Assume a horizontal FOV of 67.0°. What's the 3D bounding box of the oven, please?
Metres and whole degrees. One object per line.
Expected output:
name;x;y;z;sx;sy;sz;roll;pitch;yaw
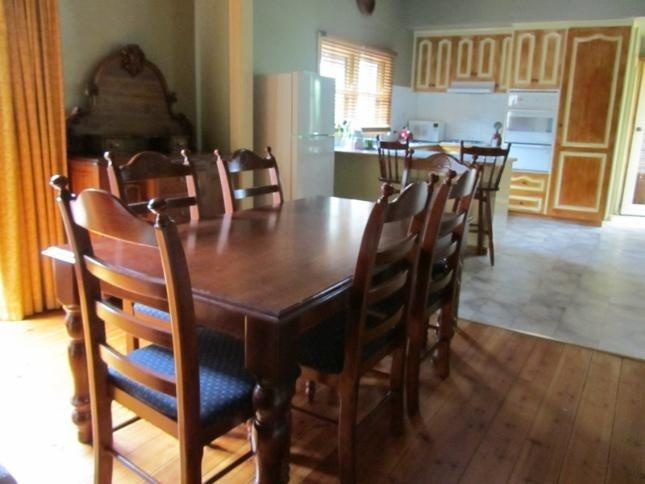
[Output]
oven;2.899;-1.677;6.754;0.742;1.206;0.706;21;53;33

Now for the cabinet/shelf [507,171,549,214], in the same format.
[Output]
cabinet/shelf;2.833;-0.566;6.929;0.562;0.464;0.663;9;61;17

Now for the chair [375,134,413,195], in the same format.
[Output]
chair;0.812;-0.729;5.007;0.424;0.719;0.462;6;21;24

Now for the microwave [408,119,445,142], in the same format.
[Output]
microwave;1.592;-1.694;7.481;0.558;0.324;0.407;2;16;12

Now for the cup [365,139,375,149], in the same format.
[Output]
cup;0.566;-1.165;5.827;0.129;0.139;0.244;4;15;2
